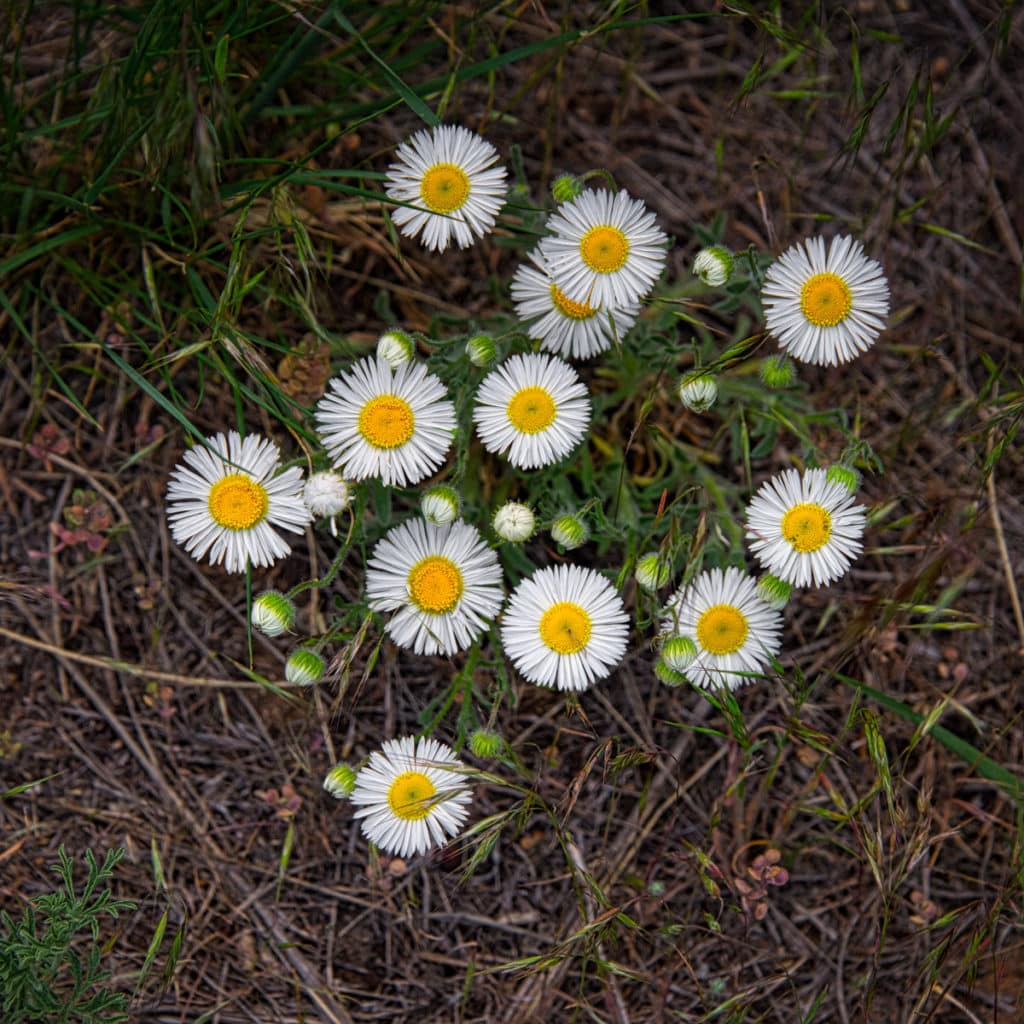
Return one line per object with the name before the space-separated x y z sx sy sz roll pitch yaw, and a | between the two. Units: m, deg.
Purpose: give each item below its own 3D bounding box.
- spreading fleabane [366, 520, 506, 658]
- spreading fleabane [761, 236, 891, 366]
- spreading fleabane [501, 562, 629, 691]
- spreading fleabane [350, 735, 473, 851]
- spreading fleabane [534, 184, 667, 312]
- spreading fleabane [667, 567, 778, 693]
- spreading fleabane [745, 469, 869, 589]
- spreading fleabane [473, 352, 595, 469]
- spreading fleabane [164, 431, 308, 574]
spreading fleabane | -0.269 0.267 3.788 0.467 0.265 0.461 -1 76 6
spreading fleabane | 1.093 -0.749 3.750 0.434 0.182 0.438 13 78 9
spreading fleabane | 0.201 0.464 3.936 0.435 0.527 0.421 7 75 7
spreading fleabane | -0.348 1.017 3.825 0.434 0.663 0.408 -9 73 3
spreading fleabane | 0.311 -0.894 3.656 0.420 0.230 0.359 17 78 10
spreading fleabane | 0.758 0.459 3.798 0.418 0.150 0.490 -14 24 23
spreading fleabane | 1.027 0.050 3.742 0.407 0.132 0.396 41 84 13
spreading fleabane | 0.070 -0.381 3.732 0.420 0.420 0.107 -30 54 34
spreading fleabane | -0.968 -0.060 3.786 0.487 0.547 0.164 -9 59 24
